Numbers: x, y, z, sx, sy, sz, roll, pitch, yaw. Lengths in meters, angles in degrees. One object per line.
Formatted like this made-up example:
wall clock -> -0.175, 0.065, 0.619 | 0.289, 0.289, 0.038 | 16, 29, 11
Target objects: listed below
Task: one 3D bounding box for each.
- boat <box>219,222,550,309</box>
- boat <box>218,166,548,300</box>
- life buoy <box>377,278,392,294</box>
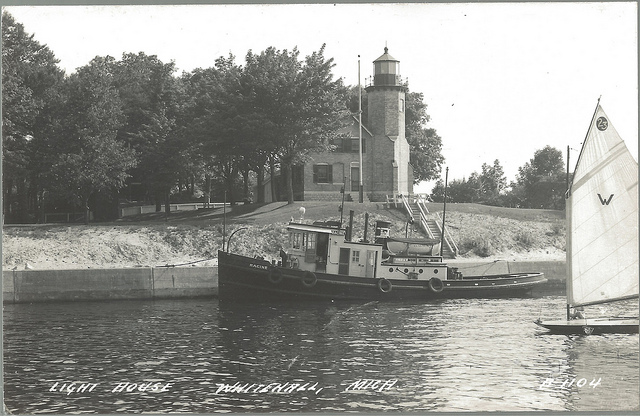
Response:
boat -> 4.433, 3.804, 59.756 | 22.450, 5.171, 4.970 | 2, -3, -4
boat -> 3.034, 3.121, 58.580 | 18.856, 5.685, 1.854 | 0, -6, -11
life buoy -> 4.248, 4.997, 58.047 | 0.963, 0.918, 0.261 | -1, -5, -5
